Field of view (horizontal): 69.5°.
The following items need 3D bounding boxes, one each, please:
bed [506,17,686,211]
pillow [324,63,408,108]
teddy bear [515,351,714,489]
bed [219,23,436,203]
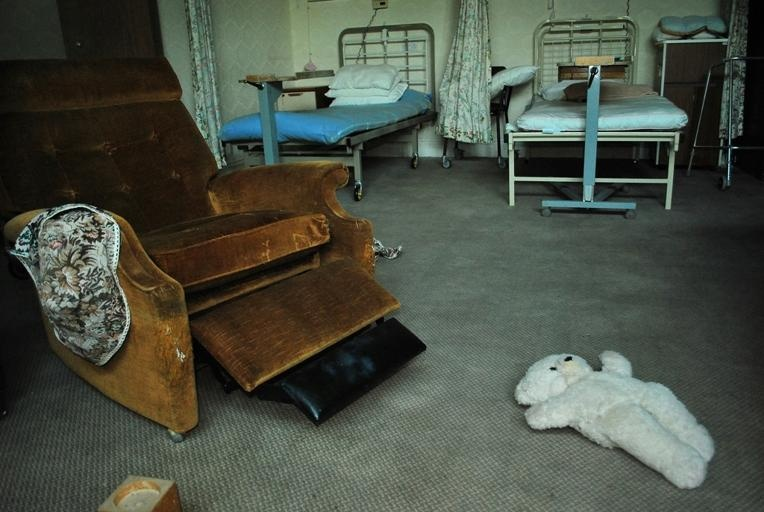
[{"bbox_3d":[1.770,-1.259,4.679,1.250,1.316,2.037,2,25,16],"label":"bed"},{"bbox_3d":[-0.148,-1.801,5.753,0.650,0.199,0.631,1,30,12],"label":"pillow"},{"bbox_3d":[0.754,0.501,1.806,0.382,0.110,0.480,-20,28,-34],"label":"teddy bear"},{"bbox_3d":[-0.402,-1.408,5.041,1.213,1.169,1.981,12,30,22],"label":"bed"}]
